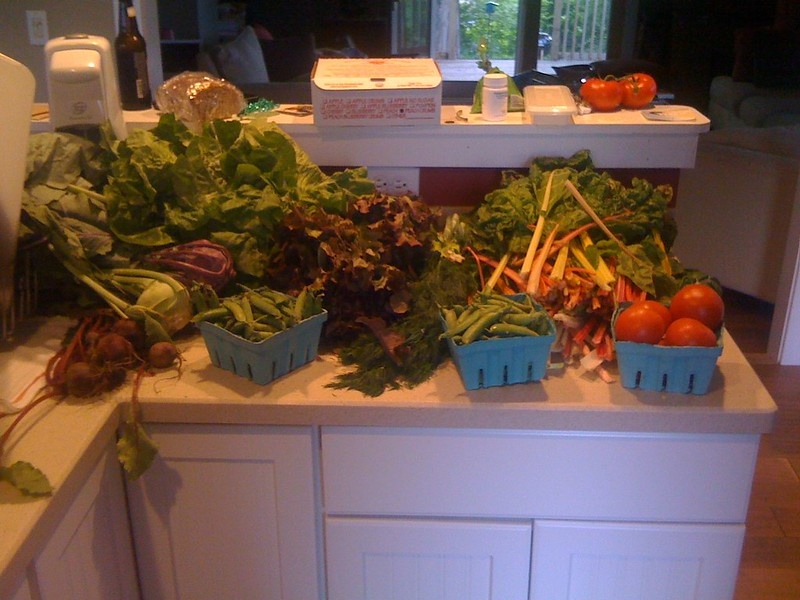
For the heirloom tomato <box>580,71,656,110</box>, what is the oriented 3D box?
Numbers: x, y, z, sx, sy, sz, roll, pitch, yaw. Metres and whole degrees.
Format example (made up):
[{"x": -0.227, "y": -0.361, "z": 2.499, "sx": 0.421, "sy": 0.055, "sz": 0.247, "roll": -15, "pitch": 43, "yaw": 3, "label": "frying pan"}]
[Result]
[{"x": 0.705, "y": -0.666, "z": 2.002, "sx": 0.214, "sy": 0.103, "sz": 0.131, "roll": -1, "pitch": 60, "yaw": -8, "label": "heirloom tomato"}]

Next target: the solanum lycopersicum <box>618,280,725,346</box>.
[{"x": 0.590, "y": 0.040, "z": 1.301, "sx": 0.195, "sy": 0.094, "sz": 0.138, "roll": -18, "pitch": 29, "yaw": -36, "label": "solanum lycopersicum"}]

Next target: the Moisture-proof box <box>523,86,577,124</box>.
[{"x": 0.462, "y": -0.596, "z": 1.843, "sx": 0.163, "sy": 0.112, "sz": 0.199, "roll": 1, "pitch": 18, "yaw": 7, "label": "Moisture-proof box"}]

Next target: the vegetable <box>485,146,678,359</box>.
[{"x": 0.446, "y": -0.142, "z": 1.585, "sx": 0.517, "sy": 0.444, "sz": 0.538, "roll": 6, "pitch": 20, "yaw": 24, "label": "vegetable"}]

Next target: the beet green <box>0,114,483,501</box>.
[{"x": -0.426, "y": 0.085, "z": 1.681, "sx": 0.891, "sy": 0.386, "sz": 0.900, "roll": 14, "pitch": 46, "yaw": 1, "label": "beet green"}]
